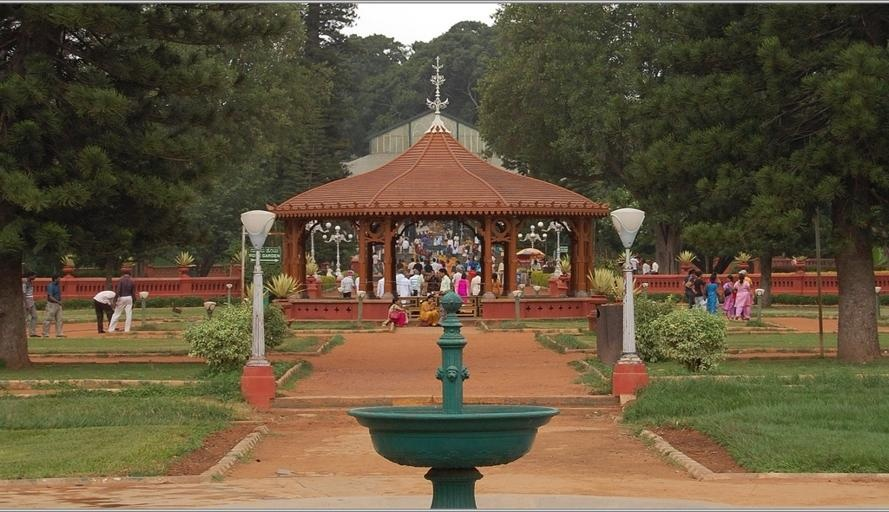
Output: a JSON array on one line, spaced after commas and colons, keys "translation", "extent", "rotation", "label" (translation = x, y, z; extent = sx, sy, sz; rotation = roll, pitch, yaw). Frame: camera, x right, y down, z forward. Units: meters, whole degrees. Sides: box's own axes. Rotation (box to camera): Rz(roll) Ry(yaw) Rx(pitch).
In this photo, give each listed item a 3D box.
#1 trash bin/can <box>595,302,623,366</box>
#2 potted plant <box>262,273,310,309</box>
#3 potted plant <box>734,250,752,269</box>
[{"translation": [4.687, 2.133, 34.701], "extent": [0.763, 1.536, 2.000], "rotation": [1, 3, 3], "label": "trash bin/can"}, {"translation": [-5.853, 1.106, 44.160], "extent": [1.340, 1.002, 1.533], "rotation": [0, -10, -18], "label": "potted plant"}, {"translation": [12.502, 0.156, 51.413], "extent": [0.663, 0.608, 0.603], "rotation": [4, -6, -16], "label": "potted plant"}]
